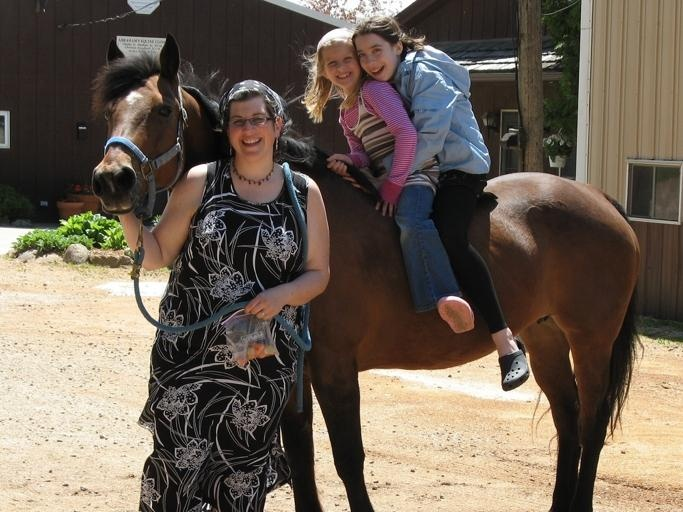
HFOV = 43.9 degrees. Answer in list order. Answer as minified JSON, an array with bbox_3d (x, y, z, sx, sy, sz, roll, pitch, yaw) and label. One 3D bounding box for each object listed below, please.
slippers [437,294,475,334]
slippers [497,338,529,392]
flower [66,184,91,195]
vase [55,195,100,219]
[{"bbox_3d":[0.798,0.397,5.826,0.181,0.275,0.084,-20,28,36],"label":"slippers"},{"bbox_3d":[1.230,0.770,6.002,0.125,0.155,0.390,-23,18,20],"label":"slippers"},{"bbox_3d":[-5.853,-1.496,18.980,0.316,0.160,0.360,2,1,6],"label":"flower"},{"bbox_3d":[-5.590,-1.054,18.072,0.526,0.500,0.597,0,3,16],"label":"vase"}]
